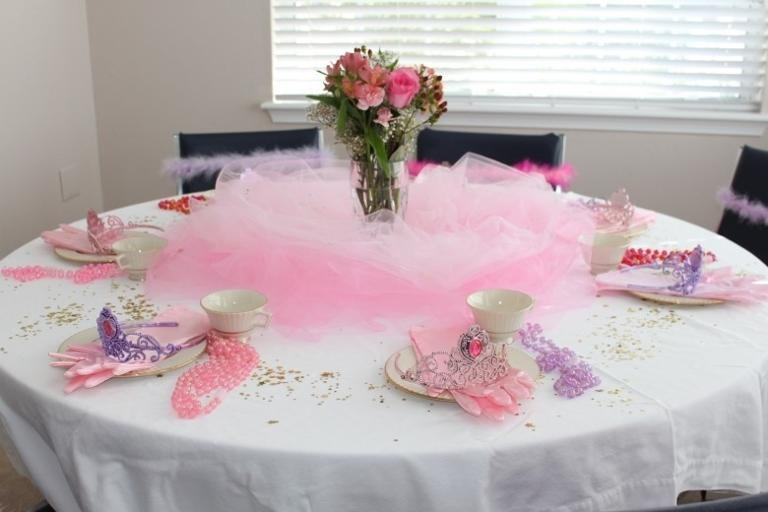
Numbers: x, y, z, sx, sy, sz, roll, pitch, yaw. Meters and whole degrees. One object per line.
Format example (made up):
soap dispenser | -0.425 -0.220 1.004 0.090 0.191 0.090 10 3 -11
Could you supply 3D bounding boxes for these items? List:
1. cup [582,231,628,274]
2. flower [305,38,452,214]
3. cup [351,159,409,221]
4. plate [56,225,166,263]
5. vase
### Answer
cup | 0.582 -0.023 1.558 0.122 0.087 0.121 0 12 0
flower | -0.020 -0.268 1.623 0.378 0.433 0.368 -4 -10 20
cup | -0.007 -0.199 1.601 0.168 0.189 0.168 0 15 0
plate | -0.735 -0.027 1.557 0.191 0.031 0.187 -4 9 7
vase | -0.015 -0.190 1.650 0.185 0.207 0.183 8 21 25
